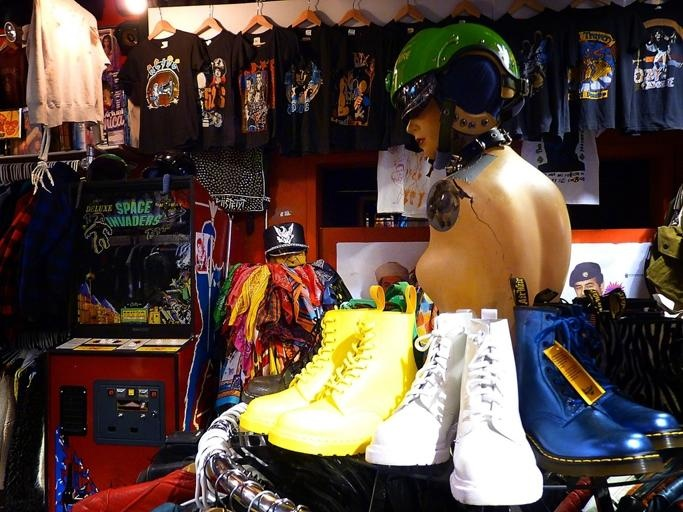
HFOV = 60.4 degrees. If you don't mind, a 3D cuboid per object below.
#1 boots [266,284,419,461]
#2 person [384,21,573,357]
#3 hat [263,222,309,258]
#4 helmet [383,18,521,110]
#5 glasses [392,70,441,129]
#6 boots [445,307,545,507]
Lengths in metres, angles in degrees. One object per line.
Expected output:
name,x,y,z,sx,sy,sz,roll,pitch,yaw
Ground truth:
boots,0.029,0.367,1.923,0.579,0.446,0.260,-5,-1,-37
person,0.745,-0.291,2.940,0.980,2.137,0.766,1,-1,25
hat,-0.353,-0.098,3.690,0.263,0.217,0.119,-1,4,-4
helmet,0.390,-0.679,2.170,0.369,0.335,0.321,6,-5,20
glasses,0.276,-0.579,2.159,0.118,0.077,0.151,-40,8,50
boots,0.454,0.440,1.706,0.243,0.482,0.228,1,4,20
